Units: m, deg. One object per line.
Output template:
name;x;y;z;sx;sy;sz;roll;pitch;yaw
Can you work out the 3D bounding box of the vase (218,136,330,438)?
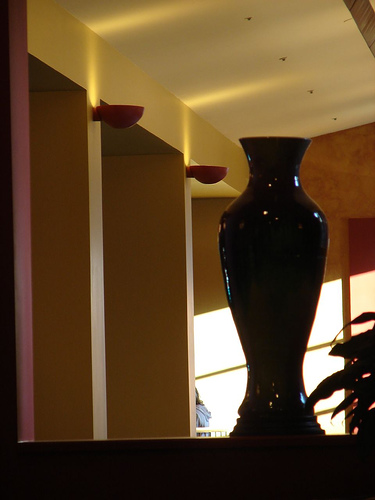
vase;0.161;0.051;1.080;0.202;0.570;0.090;-4;-7;17
